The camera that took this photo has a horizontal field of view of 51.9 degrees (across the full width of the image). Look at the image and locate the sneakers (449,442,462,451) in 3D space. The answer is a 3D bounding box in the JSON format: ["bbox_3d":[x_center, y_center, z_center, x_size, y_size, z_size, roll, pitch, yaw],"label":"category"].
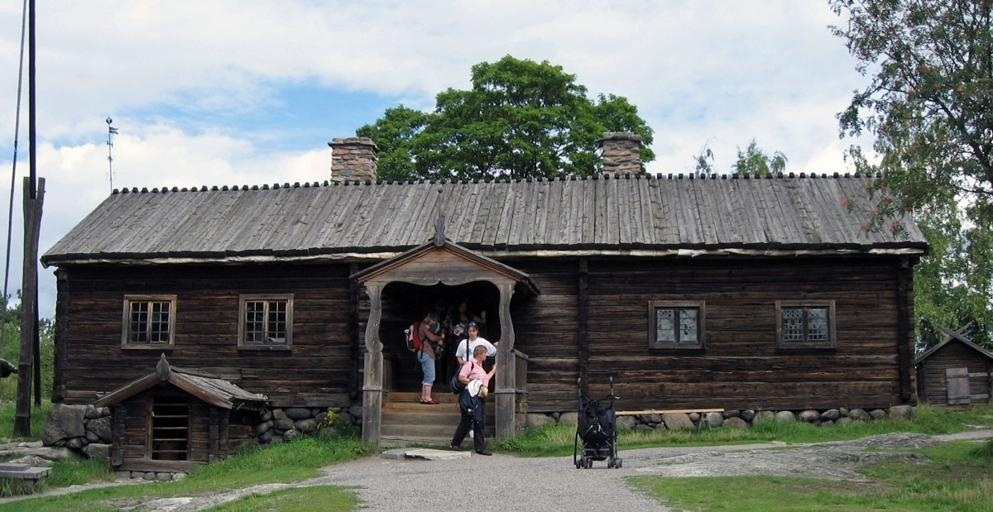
[{"bbox_3d":[-1.370,6.530,34.693,0.478,0.169,0.176,-3,-3,30],"label":"sneakers"}]

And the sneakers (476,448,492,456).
[{"bbox_3d":[-0.356,6.676,34.432,0.589,0.188,0.195,0,-3,7],"label":"sneakers"}]
